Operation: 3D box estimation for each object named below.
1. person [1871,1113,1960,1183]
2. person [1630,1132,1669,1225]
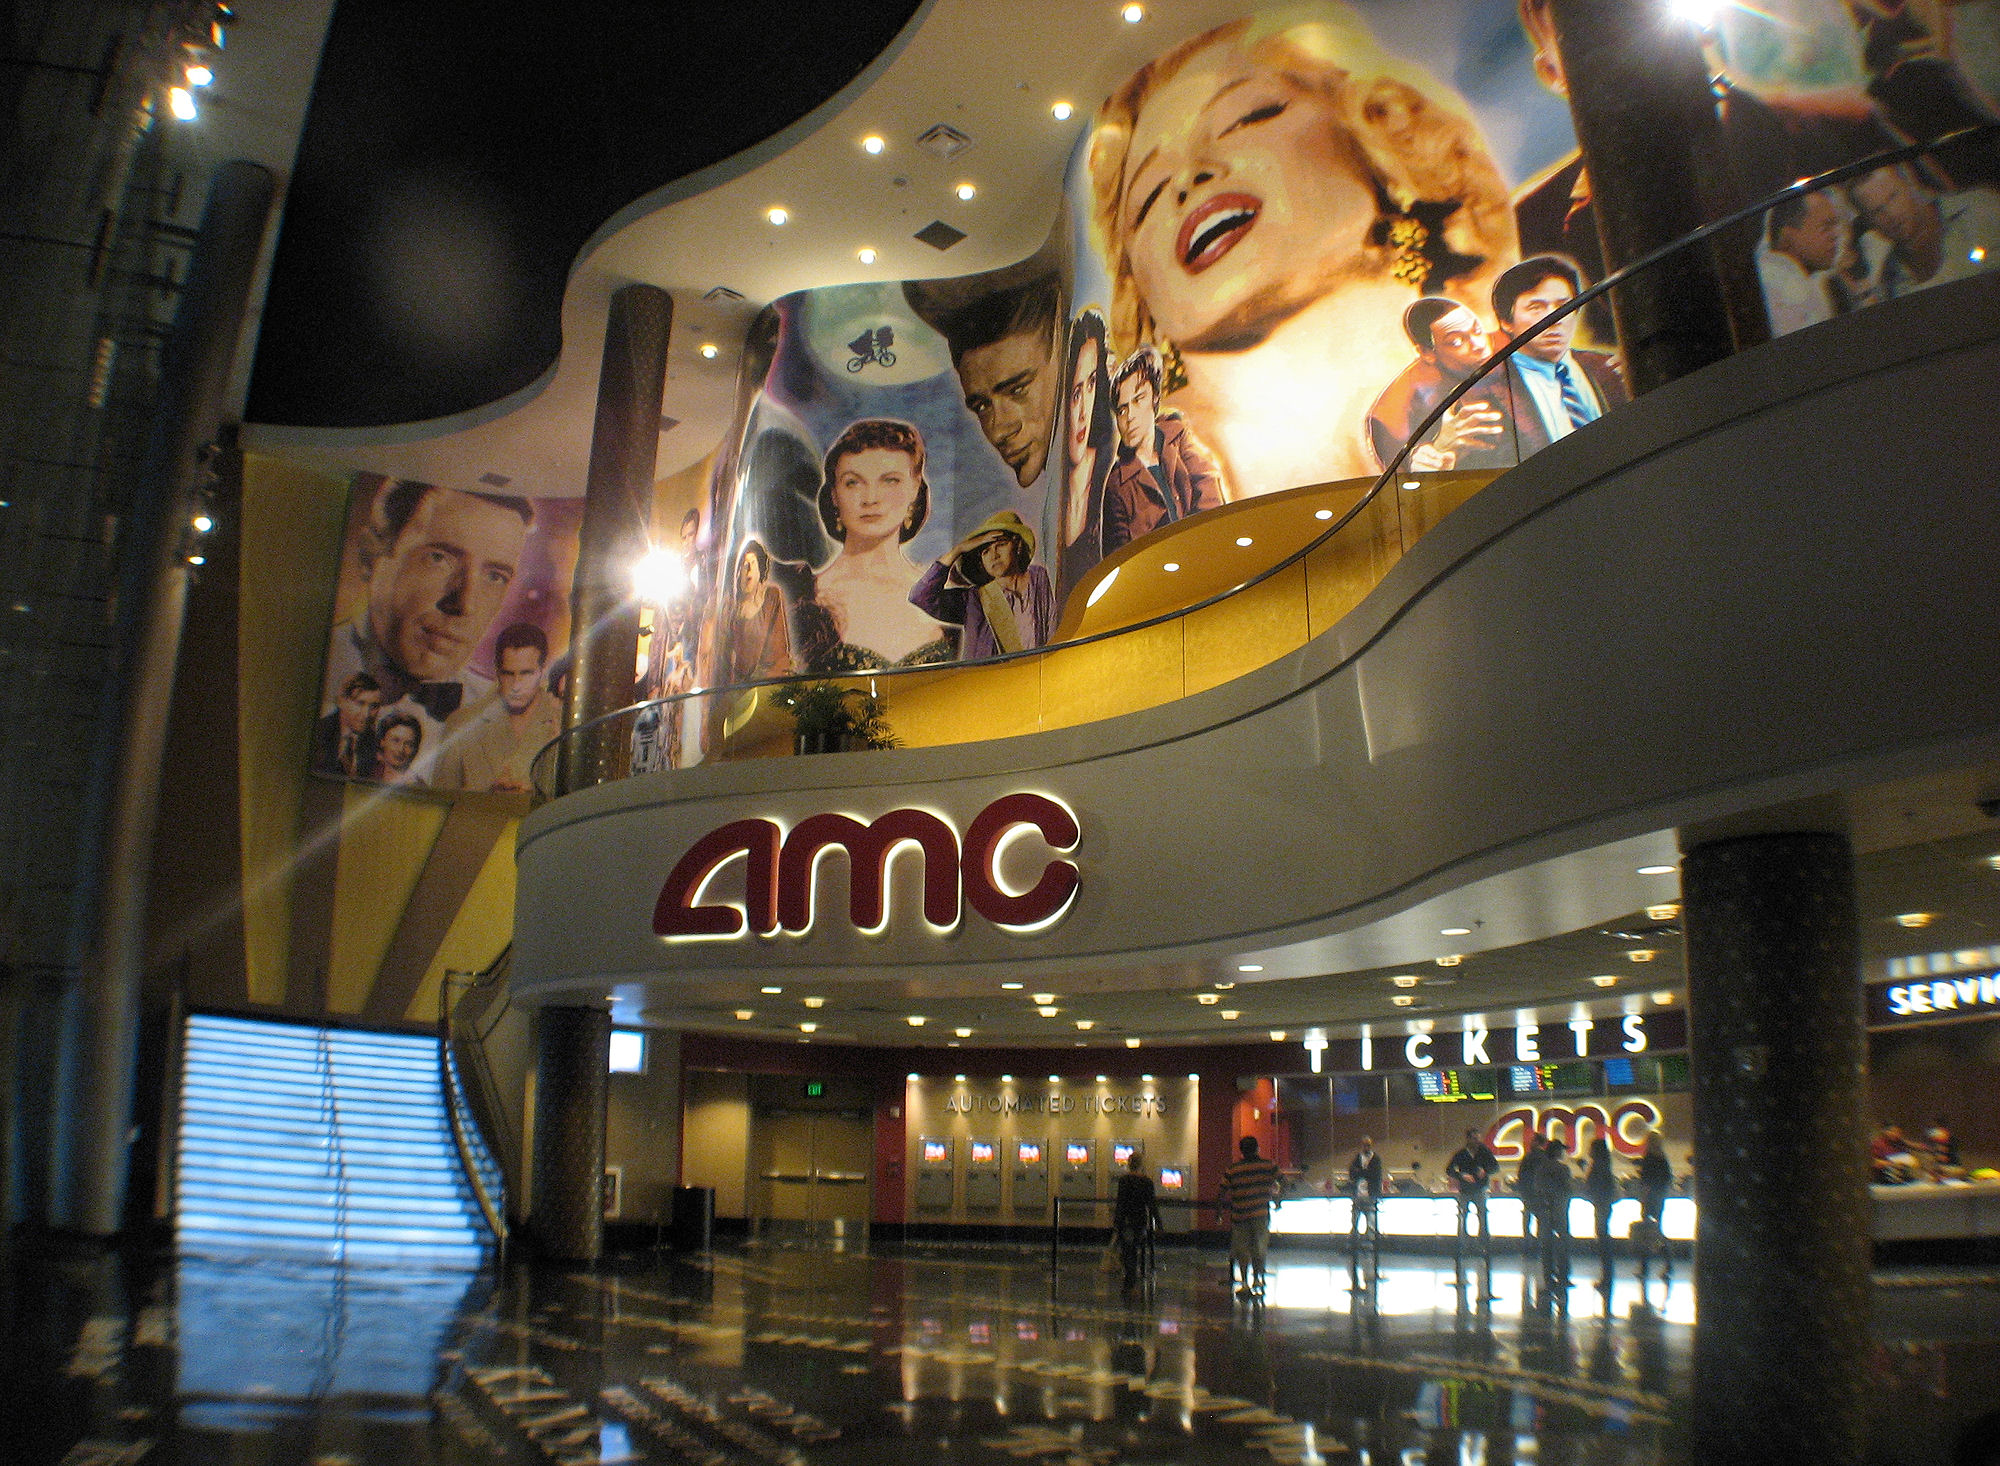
[{"bbox_3d":[11.334,5.252,20.049,1.475,0.789,0.696,12,-20,-29],"label":"person"},{"bbox_3d":[7.629,5.214,18.885,0.332,1.174,2.545,-4,-19,20],"label":"person"}]
